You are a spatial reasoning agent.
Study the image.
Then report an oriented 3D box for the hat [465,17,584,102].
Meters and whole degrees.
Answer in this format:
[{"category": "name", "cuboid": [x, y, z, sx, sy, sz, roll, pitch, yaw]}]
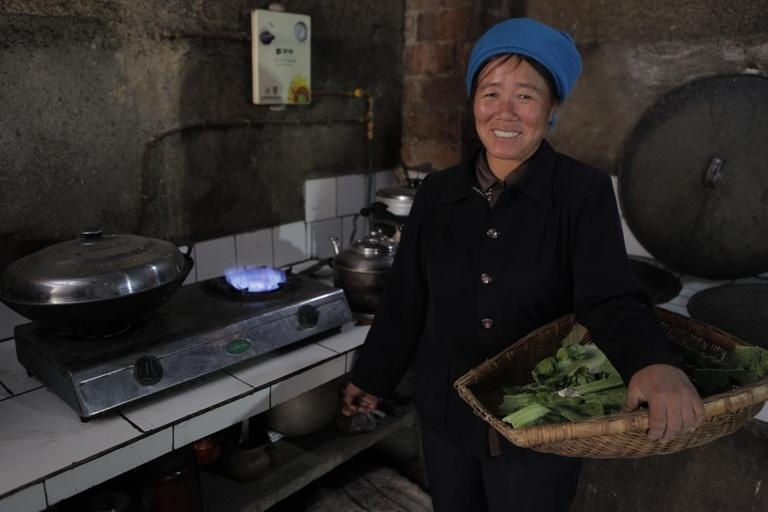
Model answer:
[{"category": "hat", "cuboid": [0.378, -0.565, 1.731, 0.298, 0.219, 0.166, 8, 60, 33]}]
